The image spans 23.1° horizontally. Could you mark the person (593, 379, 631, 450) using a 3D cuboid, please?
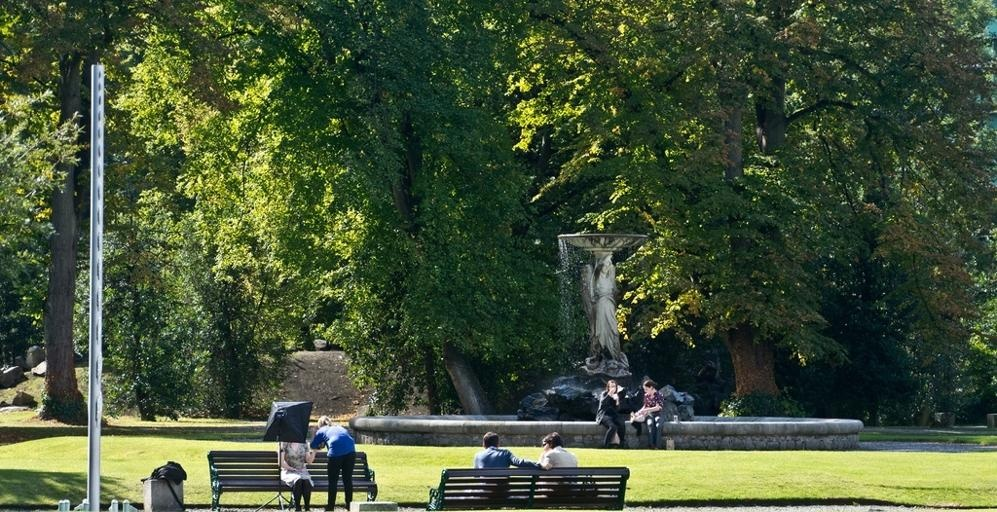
[{"bbox_3d":[5.339,7.493,113.463,1.316,3.113,1.144,5,-11,-25],"label":"person"}]
